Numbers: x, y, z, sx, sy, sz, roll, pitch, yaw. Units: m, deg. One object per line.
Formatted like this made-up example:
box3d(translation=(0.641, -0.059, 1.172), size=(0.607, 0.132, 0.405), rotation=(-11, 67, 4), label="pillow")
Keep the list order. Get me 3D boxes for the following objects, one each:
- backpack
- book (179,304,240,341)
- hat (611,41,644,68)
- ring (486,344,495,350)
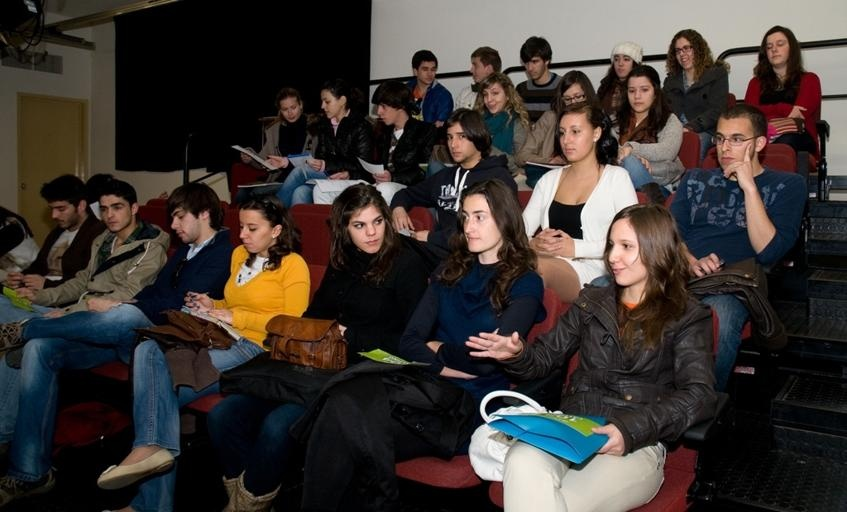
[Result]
box3d(translation=(0.439, 0.945, 3.306), size=(0.397, 0.542, 0.213), rotation=(13, -3, 11), label="backpack")
box3d(translation=(-1.453, 0.459, 3.973), size=(0.232, 0.103, 0.310), rotation=(16, -14, 41), label="book")
box3d(translation=(2.094, -2.025, 5.881), size=(0.288, 0.190, 0.297), rotation=(3, 2, 32), label="hat")
box3d(translation=(0.376, 0.497, 3.219), size=(0.023, 0.028, 0.032), rotation=(-8, 1, 23), label="ring")
